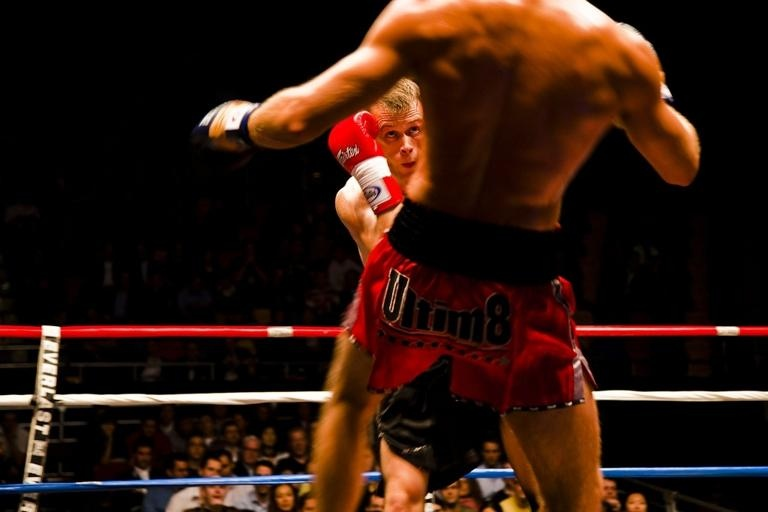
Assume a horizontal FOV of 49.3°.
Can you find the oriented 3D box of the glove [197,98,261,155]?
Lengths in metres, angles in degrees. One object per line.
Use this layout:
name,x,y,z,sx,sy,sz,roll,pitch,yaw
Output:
glove,-0.745,-0.590,3.849,0.257,0.257,0.249,3,4,19
